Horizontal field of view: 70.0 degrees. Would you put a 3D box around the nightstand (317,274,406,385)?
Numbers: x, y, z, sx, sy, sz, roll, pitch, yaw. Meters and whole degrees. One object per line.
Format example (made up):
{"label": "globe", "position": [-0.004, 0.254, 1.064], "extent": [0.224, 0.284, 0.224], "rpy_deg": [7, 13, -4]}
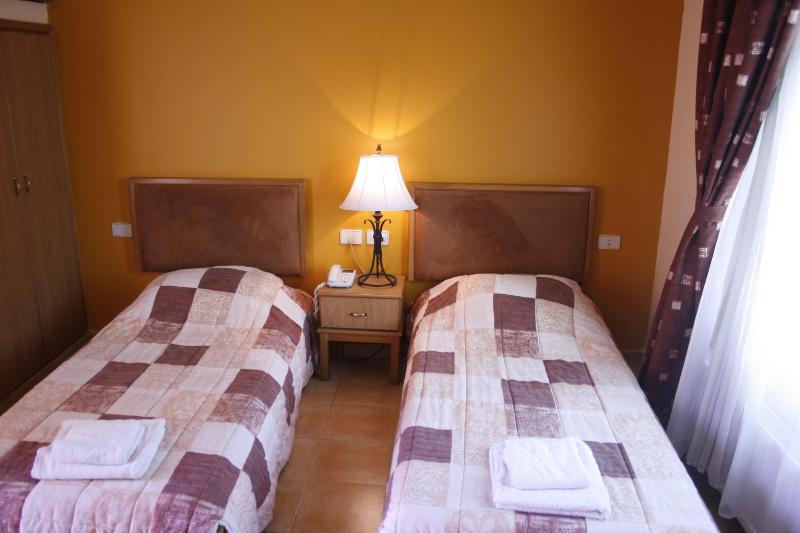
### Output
{"label": "nightstand", "position": [-0.242, 0.447, 4.413], "extent": [0.618, 0.663, 0.720], "rpy_deg": [0, -75, 1]}

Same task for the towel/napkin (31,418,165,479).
{"label": "towel/napkin", "position": [-1.435, 0.890, 2.852], "extent": [0.325, 0.331, 0.097], "rpy_deg": [4, -81, -2]}

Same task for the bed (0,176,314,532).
{"label": "bed", "position": [-1.440, 0.495, 3.496], "extent": [1.902, 0.220, 1.437], "rpy_deg": [0, -78, -2]}

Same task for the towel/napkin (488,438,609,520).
{"label": "towel/napkin", "position": [0.689, 0.980, 2.636], "extent": [0.325, 0.355, 0.113], "rpy_deg": [2, -70, 1]}

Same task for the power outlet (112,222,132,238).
{"label": "power outlet", "position": [-2.097, -0.284, 4.330], "extent": [0.101, 0.014, 0.083], "rpy_deg": [3, -75, -2]}

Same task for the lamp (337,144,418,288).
{"label": "lamp", "position": [-0.153, -0.406, 4.144], "extent": [0.554, 0.584, 1.084], "rpy_deg": [8, -67, 15]}

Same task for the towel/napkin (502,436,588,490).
{"label": "towel/napkin", "position": [0.674, 0.919, 2.674], "extent": [0.218, 0.230, 0.064], "rpy_deg": [0, -69, 1]}

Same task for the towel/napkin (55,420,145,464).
{"label": "towel/napkin", "position": [-1.455, 0.850, 2.763], "extent": [0.223, 0.251, 0.072], "rpy_deg": [3, -73, -5]}
